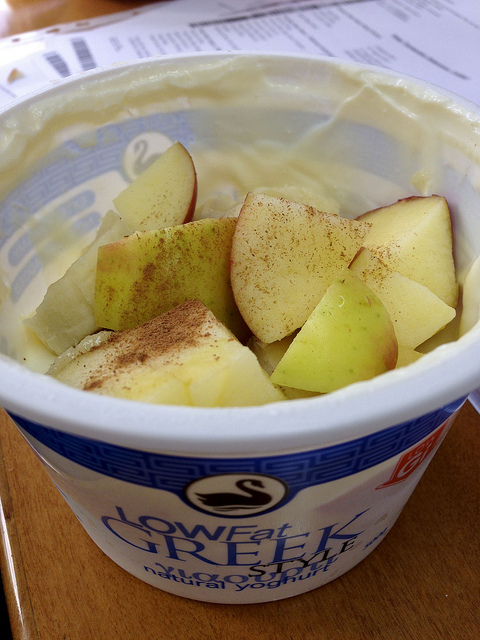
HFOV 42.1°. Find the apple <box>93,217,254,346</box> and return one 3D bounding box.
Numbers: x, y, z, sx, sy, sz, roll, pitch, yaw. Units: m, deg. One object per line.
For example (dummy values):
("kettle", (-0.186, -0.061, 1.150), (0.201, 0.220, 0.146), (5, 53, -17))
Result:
("apple", (-0.060, -0.048, 0.583), (0.100, 0.051, 0.187), (-6, 5, 21))

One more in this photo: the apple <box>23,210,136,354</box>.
("apple", (-0.125, -0.033, 0.586), (0.042, 0.075, 0.134), (38, 84, -17))

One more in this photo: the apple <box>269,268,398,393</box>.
("apple", (0.072, 0.014, 0.424), (0.062, 0.047, 0.085), (27, 55, 20))
